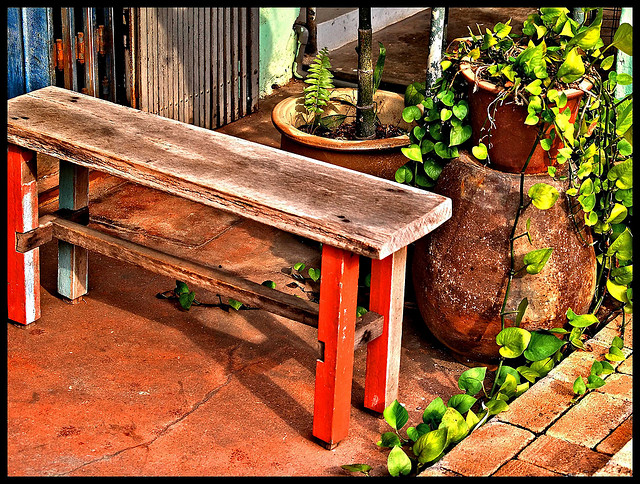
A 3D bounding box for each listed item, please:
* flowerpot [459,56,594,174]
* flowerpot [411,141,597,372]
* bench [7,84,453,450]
[{"bbox_3d":[0.799,-0.543,2.710,0.540,0.352,0.502,-10,34,-24],"label":"flowerpot"},{"bbox_3d":[0.902,0.125,3.144,0.971,0.981,0.875,0,17,5],"label":"flowerpot"},{"bbox_3d":[-0.489,-0.121,3.252,2.421,1.216,1.524,12,26,23],"label":"bench"}]
